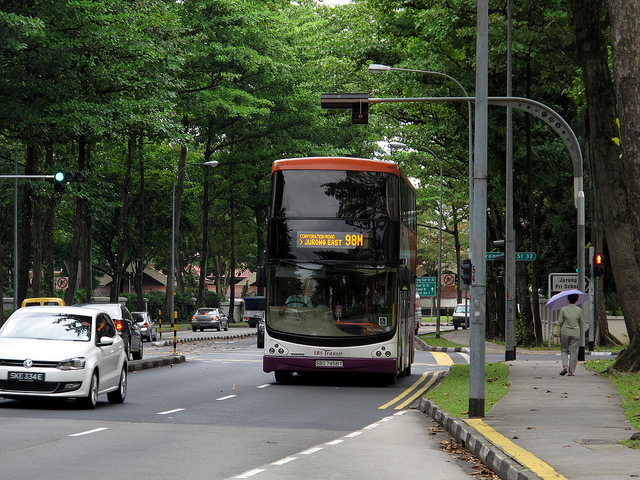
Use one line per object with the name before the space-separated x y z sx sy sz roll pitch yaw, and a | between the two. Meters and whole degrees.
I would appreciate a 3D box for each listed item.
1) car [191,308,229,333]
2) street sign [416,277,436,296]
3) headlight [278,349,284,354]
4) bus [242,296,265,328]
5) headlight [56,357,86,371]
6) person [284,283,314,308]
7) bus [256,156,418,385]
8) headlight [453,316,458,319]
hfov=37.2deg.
car | -7.798 5.653 67.047 2.189 1.780 2.411 -1 -6 -8
street sign | 5.927 2.599 53.684 1.439 1.119 0.028 -4 31 -4
headlight | -1.021 2.959 25.204 0.123 0.128 0.044 -1 -4 3
bus | -5.338 6.109 81.872 2.480 2.561 4.300 1 0 -5
headlight | -5.059 2.564 19.503 0.551 0.252 0.080 2 -6 -27
person | -0.519 1.424 25.087 0.618 0.868 0.277 1 2 -7
bus | 0.499 0.906 25.372 2.634 4.264 6.598 1 -3 12
headlight | 10.758 6.232 76.060 0.188 0.192 0.353 1 -15 0
